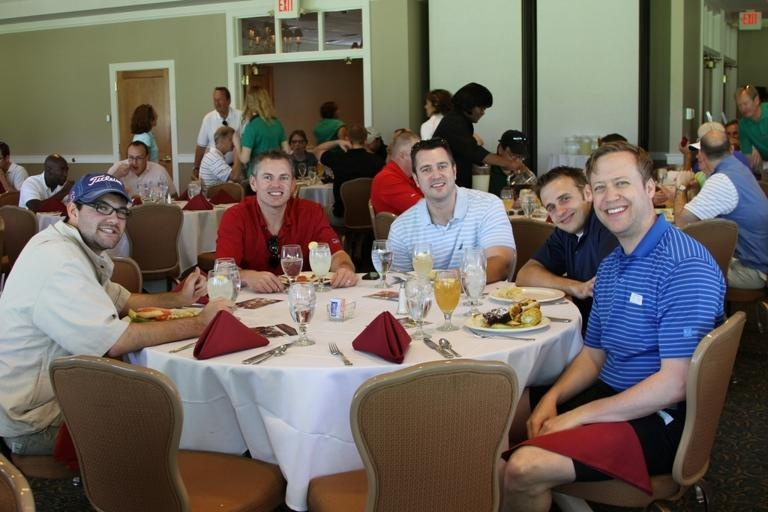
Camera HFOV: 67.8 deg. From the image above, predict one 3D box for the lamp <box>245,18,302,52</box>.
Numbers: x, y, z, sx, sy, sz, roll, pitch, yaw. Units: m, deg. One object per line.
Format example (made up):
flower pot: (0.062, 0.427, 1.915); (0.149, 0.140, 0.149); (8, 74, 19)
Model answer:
lamp: (-1.810, -3.481, 9.005); (0.973, 0.592, 0.297); (2, 13, 26)

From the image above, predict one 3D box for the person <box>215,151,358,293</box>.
person: (-0.495, -0.200, 3.077); (0.671, 0.681, 0.805); (-8, 14, -29)

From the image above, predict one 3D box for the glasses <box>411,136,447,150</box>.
glasses: (0.230, -0.575, 2.975); (0.103, 0.055, 0.127); (-11, 5, -42)

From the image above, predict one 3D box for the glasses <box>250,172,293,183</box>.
glasses: (-0.589, -0.417, 3.046); (0.172, 0.054, 0.059); (-3, 12, 3)

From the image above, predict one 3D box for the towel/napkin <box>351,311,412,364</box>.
towel/napkin: (0.002, 0.278, 1.909); (0.152, 0.089, 0.160); (-2, 4, -15)

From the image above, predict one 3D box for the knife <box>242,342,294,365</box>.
knife: (-0.382, 0.324, 1.942); (0.197, 0.038, 0.045); (-12, 13, -40)

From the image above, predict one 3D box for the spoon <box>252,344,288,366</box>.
spoon: (-0.379, 0.334, 1.924); (0.032, 0.028, 0.189); (4, 12, 20)

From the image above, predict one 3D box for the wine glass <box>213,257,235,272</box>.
wine glass: (-0.663, 0.034, 2.356); (0.068, 0.071, 0.070); (1, 0, -9)

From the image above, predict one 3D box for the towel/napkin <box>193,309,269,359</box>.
towel/napkin: (-0.534, 0.253, 1.946); (0.154, 0.089, 0.176); (2, -1, 17)

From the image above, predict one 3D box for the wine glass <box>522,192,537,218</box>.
wine glass: (1.109, -0.389, 4.437); (0.147, 0.208, 0.142); (-9, 12, -35)

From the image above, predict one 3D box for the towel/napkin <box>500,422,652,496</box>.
towel/napkin: (0.689, 0.606, 1.841); (0.265, 0.087, 0.275); (-12, 19, -17)

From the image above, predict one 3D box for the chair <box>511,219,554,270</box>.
chair: (0.857, -0.074, 3.426); (0.259, 0.327, 0.267); (10, 15, 33)

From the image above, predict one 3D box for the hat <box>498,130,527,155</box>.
hat: (1.362, -1.184, 6.066); (0.245, 0.212, 0.341); (-2, 18, -24)

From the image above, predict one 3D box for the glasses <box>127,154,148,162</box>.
glasses: (-2.508, -1.006, 5.838); (0.177, 0.058, 0.122); (-10, 13, -27)

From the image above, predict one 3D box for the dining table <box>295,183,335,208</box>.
dining table: (-0.787, -0.730, 6.763); (0.410, 0.229, 0.425); (10, 20, 28)

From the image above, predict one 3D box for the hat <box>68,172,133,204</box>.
hat: (-1.172, -0.261, 2.306); (0.182, 0.097, 0.139); (-5, 0, 33)
